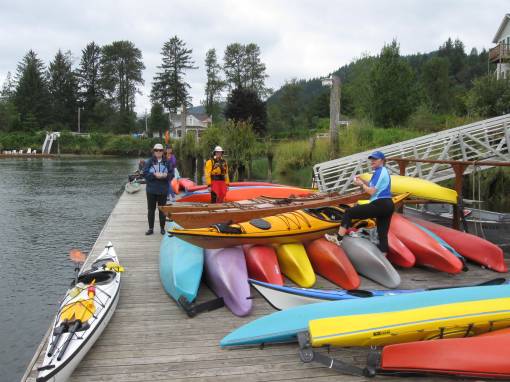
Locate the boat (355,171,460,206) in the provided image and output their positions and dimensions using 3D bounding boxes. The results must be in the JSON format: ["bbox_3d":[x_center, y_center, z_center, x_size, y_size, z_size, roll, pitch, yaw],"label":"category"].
[{"bbox_3d":[3.576,-0.119,13.387,0.930,0.537,2.804,-11,13,-40],"label":"boat"}]

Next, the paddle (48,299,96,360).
[{"bbox_3d":[-3.001,2.203,8.989,0.441,0.122,0.843,-6,23,5],"label":"paddle"}]

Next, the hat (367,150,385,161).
[{"bbox_3d":[2.536,-0.719,11.046,0.444,0.206,0.284,-2,-1,-36],"label":"hat"}]

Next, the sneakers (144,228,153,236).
[{"bbox_3d":[-2.655,1.032,13.605,0.110,0.105,0.285,3,-5,7],"label":"sneakers"}]

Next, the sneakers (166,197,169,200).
[{"bbox_3d":[-2.547,0.220,15.755,0.119,0.072,0.551,0,-1,-11],"label":"sneakers"}]

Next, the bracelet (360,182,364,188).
[{"bbox_3d":[2.170,-0.110,10.984,0.029,0.080,0.089,2,9,-10],"label":"bracelet"}]

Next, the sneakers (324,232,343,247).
[{"bbox_3d":[1.647,0.983,11.197,0.420,0.179,0.164,22,15,4],"label":"sneakers"}]

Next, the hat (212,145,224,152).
[{"bbox_3d":[-0.981,-1.135,14.728,0.362,0.159,0.464,1,2,-5],"label":"hat"}]
